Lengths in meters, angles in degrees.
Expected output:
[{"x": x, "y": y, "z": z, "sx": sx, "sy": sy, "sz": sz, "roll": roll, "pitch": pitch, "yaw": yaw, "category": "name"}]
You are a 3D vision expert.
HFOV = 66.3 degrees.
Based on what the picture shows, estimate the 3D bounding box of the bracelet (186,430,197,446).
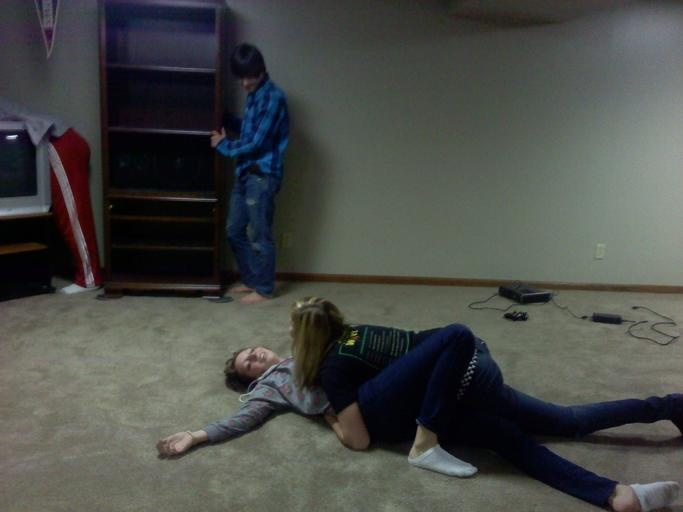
[{"x": -0.646, "y": 0.797, "z": 2.277, "sx": 0.036, "sy": 0.049, "sz": 0.015, "roll": 9, "pitch": -8, "yaw": -36, "category": "bracelet"}]

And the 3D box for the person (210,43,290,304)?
[{"x": -0.670, "y": -0.593, "z": 3.900, "sx": 0.538, "sy": 1.854, "sz": 0.337, "roll": 1, "pitch": 12, "yaw": -8, "category": "person"}]

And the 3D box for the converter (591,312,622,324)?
[{"x": 1.912, "y": 0.453, "z": 3.786, "sx": 0.136, "sy": 0.044, "sz": 0.098, "roll": 0, "pitch": 2, "yaw": 27, "category": "converter"}]

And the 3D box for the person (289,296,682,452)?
[{"x": 0.517, "y": 0.478, "z": 2.343, "sx": 1.567, "sy": 0.672, "sz": 0.699, "roll": -5, "pitch": 8, "yaw": 22, "category": "person"}]
